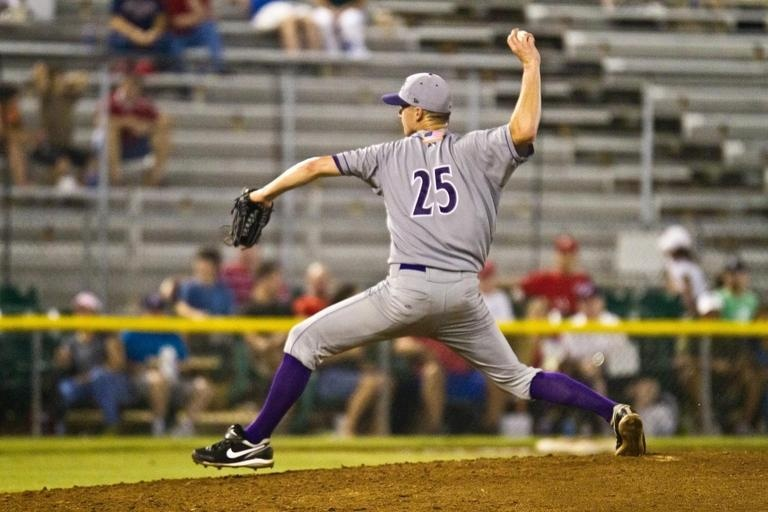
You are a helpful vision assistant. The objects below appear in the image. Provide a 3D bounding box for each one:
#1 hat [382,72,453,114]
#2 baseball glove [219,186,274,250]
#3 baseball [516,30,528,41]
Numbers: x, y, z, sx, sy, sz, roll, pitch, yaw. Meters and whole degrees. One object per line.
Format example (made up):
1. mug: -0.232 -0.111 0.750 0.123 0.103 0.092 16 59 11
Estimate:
1. hat: 0.383 -1.684 18.551 0.565 0.339 0.411 8 10 12
2. baseball glove: -1.417 -0.398 18.573 0.475 0.629 0.223 46 -18 -30
3. baseball: 1.428 -2.234 18.309 0.131 0.111 0.146 5 3 20
